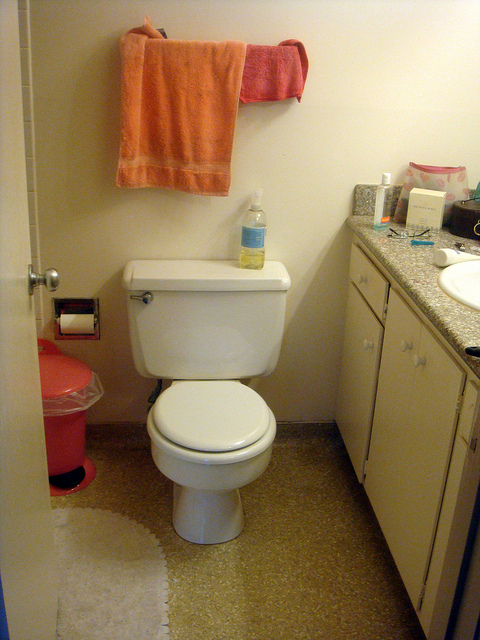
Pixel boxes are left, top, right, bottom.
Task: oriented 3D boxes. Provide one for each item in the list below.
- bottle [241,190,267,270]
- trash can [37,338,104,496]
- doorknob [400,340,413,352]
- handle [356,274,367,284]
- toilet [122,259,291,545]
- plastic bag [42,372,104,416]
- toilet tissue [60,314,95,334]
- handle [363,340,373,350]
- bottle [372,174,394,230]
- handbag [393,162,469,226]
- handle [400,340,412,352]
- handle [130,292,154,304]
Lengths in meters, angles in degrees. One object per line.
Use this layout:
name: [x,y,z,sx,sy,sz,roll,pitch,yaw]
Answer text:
bottle: [0.043,-0.282,1.673,0.081,0.229,0.135,3,22,-1]
trash can: [-0.603,0.308,1.712,0.290,0.420,0.313,1,24,-8]
doorknob: [0.374,0.058,1.218,0.023,0.024,0.018,-1,11,-17]
handle: [0.368,-0.126,1.630,0.026,0.022,0.015,9,36,-24]
toilet: [-0.095,0.230,1.541,0.452,0.709,0.730,0,23,-6]
plastic bag: [-0.489,0.233,1.614,0.066,0.064,0.204,16,25,30]
toilet tissue: [-0.543,0.006,1.815,0.122,0.061,0.078,-1,7,-3]
handle: [0.365,0.070,1.525,0.022,0.020,0.022,26,-9,-39]
bottle: [0.446,-0.374,1.667,0.051,0.156,0.183,8,22,13]
handbag: [0.599,-0.392,1.672,0.227,0.178,0.085,10,20,26]
handle: [0.375,0.058,1.217,0.021,0.020,0.021,9,-17,-14]
handle: [-0.273,-0.065,1.566,0.036,0.022,0.049,0,-1,-36]
